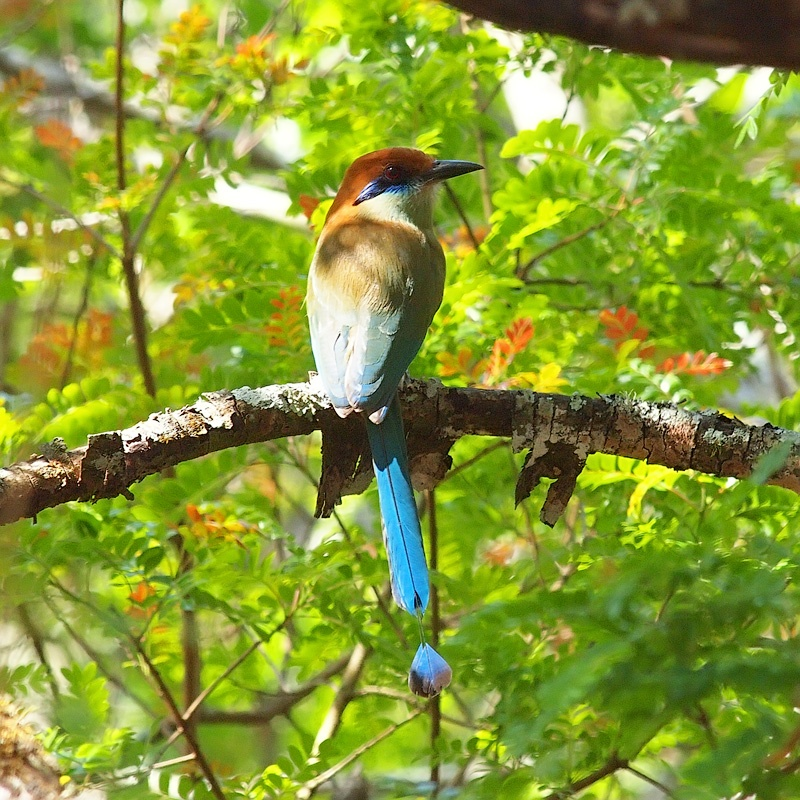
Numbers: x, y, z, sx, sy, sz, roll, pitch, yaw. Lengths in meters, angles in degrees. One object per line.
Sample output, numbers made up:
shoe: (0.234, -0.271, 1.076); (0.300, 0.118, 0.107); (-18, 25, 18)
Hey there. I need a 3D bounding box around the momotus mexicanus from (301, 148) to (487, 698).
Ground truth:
momotus mexicanus: (-0.084, -0.179, 4.178); (0.462, 1.973, 0.602); (8, -51, -5)
